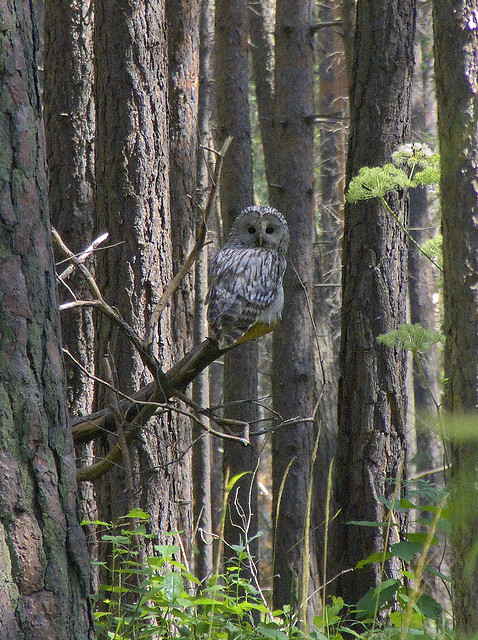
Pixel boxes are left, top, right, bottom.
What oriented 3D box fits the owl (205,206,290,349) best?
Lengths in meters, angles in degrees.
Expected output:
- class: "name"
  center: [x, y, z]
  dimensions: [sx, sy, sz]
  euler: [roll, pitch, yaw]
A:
- class: "owl"
  center: [0.068, -0.196, 9.987]
  dimensions: [0.317, 0.981, 0.576]
  euler: [-3, -8, 42]
